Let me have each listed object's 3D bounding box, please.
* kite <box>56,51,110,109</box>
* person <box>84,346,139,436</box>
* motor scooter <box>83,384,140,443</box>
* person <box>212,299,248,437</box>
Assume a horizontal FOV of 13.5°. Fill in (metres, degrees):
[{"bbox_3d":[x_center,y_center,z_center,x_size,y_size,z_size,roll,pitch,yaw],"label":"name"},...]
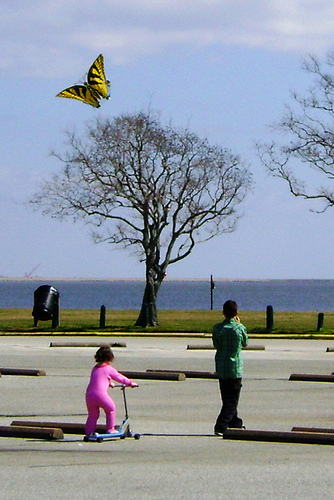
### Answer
[{"bbox_3d":[-1.753,-3.737,33.034,0.861,0.428,1.631,41,-36,-11],"label":"kite"},{"bbox_3d":[-0.732,1.758,17.547,0.583,1.083,0.656,1,1,-3],"label":"person"},{"bbox_3d":[-0.649,1.986,17.499,0.536,0.745,0.500,2,-4,-27],"label":"motor scooter"},{"bbox_3d":[0.806,1.499,18.053,0.438,1.670,0.803,1,1,3],"label":"person"}]
